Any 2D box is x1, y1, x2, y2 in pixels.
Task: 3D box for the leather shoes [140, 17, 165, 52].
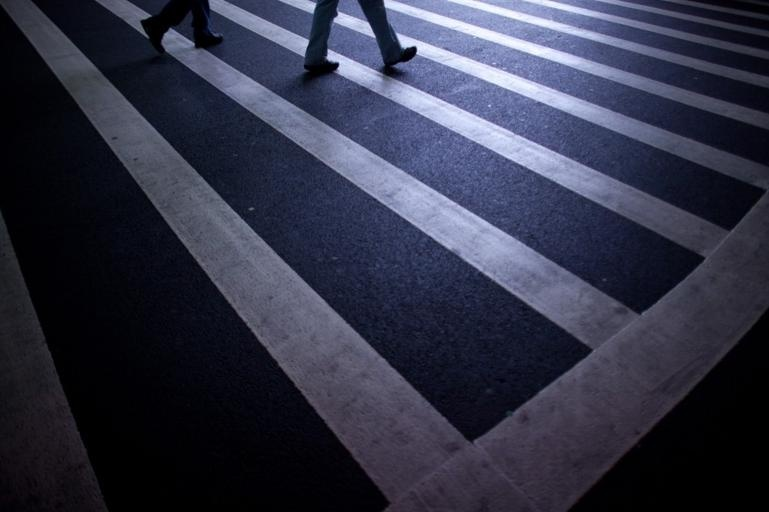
[{"bbox_3d":[-2.956,-2.863,7.150,0.272,0.502,0.216,-12,48,-16],"label":"leather shoes"}]
